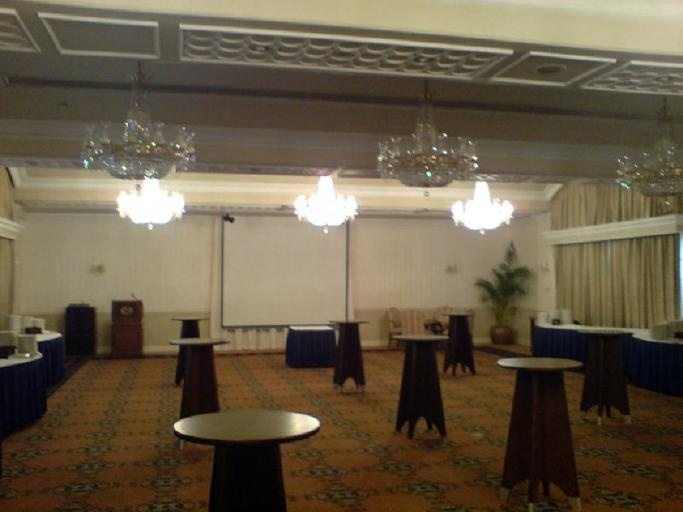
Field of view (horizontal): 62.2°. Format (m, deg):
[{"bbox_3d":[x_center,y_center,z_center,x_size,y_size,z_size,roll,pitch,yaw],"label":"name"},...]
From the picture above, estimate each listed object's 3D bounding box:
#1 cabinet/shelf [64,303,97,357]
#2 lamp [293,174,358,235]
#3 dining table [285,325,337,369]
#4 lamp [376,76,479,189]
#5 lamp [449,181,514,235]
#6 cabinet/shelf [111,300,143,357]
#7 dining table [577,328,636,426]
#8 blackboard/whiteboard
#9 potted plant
[{"bbox_3d":[-6.216,1.761,13.417,0.667,0.956,0.327,0,0,-17],"label":"cabinet/shelf"},{"bbox_3d":[-0.450,-0.955,11.159,1.242,1.256,1.234,1,3,19],"label":"lamp"},{"bbox_3d":[-0.749,2.017,12.477,1.113,0.806,1.130,2,-6,-22],"label":"dining table"},{"bbox_3d":[0.886,-1.483,6.028,0.946,1.344,0.966,-4,14,-28],"label":"lamp"},{"bbox_3d":[3.027,-0.939,12.368,1.270,1.307,1.280,-2,2,-23],"label":"lamp"},{"bbox_3d":[-5.169,1.718,13.656,0.790,1.282,0.766,0,-3,-5],"label":"cabinet/shelf"},{"bbox_3d":[3.474,1.639,7.548,0.710,1.214,0.723,1,-3,-43],"label":"dining table"},{"bbox_3d":[-1.508,0.403,14.875,3.392,2.862,0.156,-1,3,-22],"label":"blackboard/whiteboard"},{"bbox_3d":[4.498,1.017,15.752,1.237,2.866,0.913,0,0,-18],"label":"potted plant"}]
